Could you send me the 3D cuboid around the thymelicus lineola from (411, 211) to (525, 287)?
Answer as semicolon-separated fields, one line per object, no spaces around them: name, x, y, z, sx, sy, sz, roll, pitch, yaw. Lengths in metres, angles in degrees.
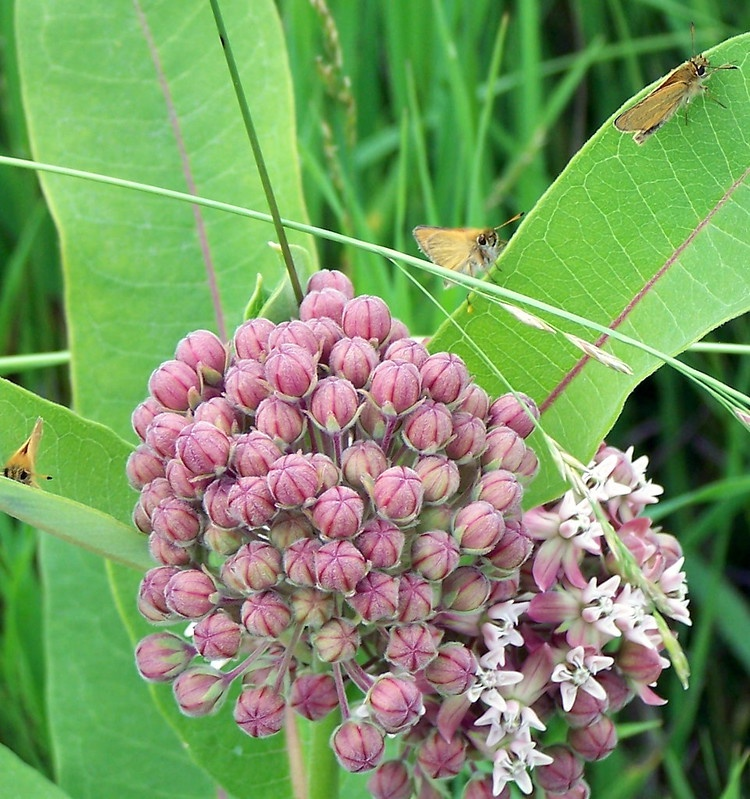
thymelicus lineola;0.162;-0.245;1.857;0.133;0.090;0.176;-20;-11;21

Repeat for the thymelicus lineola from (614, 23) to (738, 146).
thymelicus lineola;0.443;-0.464;1.657;0.189;0.086;0.106;-45;38;-7
